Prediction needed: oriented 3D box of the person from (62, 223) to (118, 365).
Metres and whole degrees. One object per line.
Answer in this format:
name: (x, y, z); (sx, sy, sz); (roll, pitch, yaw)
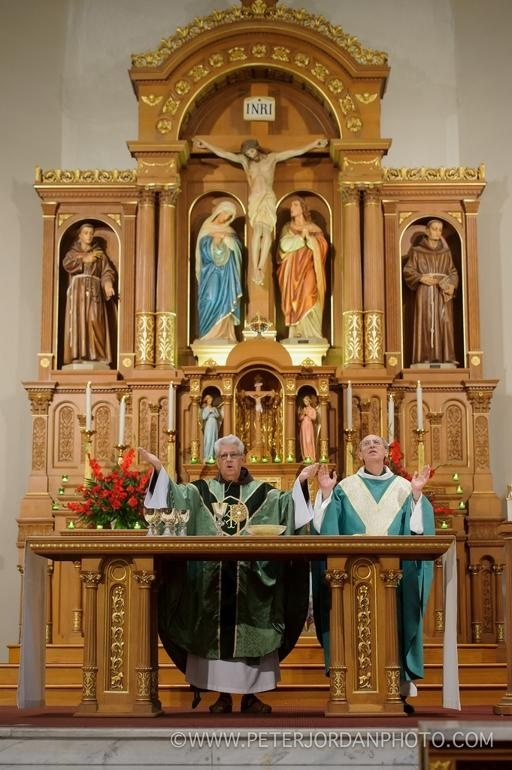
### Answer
person: (-1.435, -0.783, 11.806); (0.463, 1.272, 0.378); (0, -8, -9)

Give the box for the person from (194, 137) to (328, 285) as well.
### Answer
person: (0.044, -1.524, 11.920); (1.363, 1.306, 0.329); (0, -14, -1)

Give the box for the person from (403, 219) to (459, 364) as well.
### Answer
person: (1.492, -0.788, 11.701); (0.453, 1.286, 0.267); (-4, -8, 15)

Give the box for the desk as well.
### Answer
desk: (-0.019, 1.241, 7.203); (2.337, 0.954, 0.590); (-3, -4, 20)

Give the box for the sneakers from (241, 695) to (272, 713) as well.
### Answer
sneakers: (0.001, 1.744, 7.446); (0.155, 0.101, 0.084); (-3, -8, 11)

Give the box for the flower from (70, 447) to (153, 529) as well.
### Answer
flower: (-1.019, 0.725, 9.581); (0.578, 0.538, 0.553); (3, -6, -16)

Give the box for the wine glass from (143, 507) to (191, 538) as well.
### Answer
wine glass: (-0.491, 0.748, 7.419); (0.162, 0.135, 0.192); (-6, -12, 27)

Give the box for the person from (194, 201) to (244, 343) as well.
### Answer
person: (-0.322, -0.996, 11.742); (0.382, 1.313, 0.333); (-1, -8, -3)

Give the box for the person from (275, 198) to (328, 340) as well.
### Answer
person: (0.381, -1.014, 11.734); (0.443, 1.308, 0.338); (-3, -8, 11)
